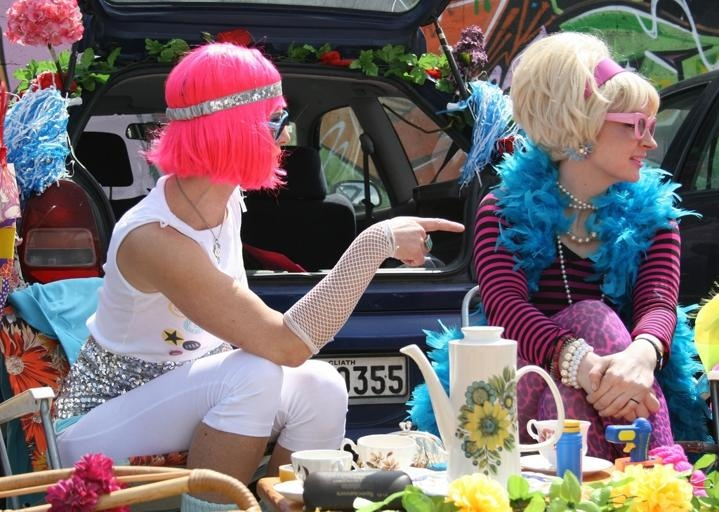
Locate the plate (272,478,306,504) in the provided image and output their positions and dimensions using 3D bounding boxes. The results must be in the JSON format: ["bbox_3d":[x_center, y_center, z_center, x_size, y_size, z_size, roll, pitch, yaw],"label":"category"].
[{"bbox_3d":[-0.158,0.547,1.740,0.059,0.015,0.059,0,11,-8],"label":"plate"}]

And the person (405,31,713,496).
[{"bbox_3d":[0.720,-0.032,2.529,0.845,1.503,1.353,6,10,-5],"label":"person"}]

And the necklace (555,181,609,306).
[{"bbox_3d":[0.707,-0.046,2.556,0.162,0.394,0.174,2,14,-8],"label":"necklace"}]

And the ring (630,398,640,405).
[{"bbox_3d":[0.796,0.420,2.166,0.018,0.006,0.018,13,4,-1],"label":"ring"}]

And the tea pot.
[{"bbox_3d":[0.285,0.328,1.694,0.301,0.382,0.307,1,6,0],"label":"tea pot"}]
